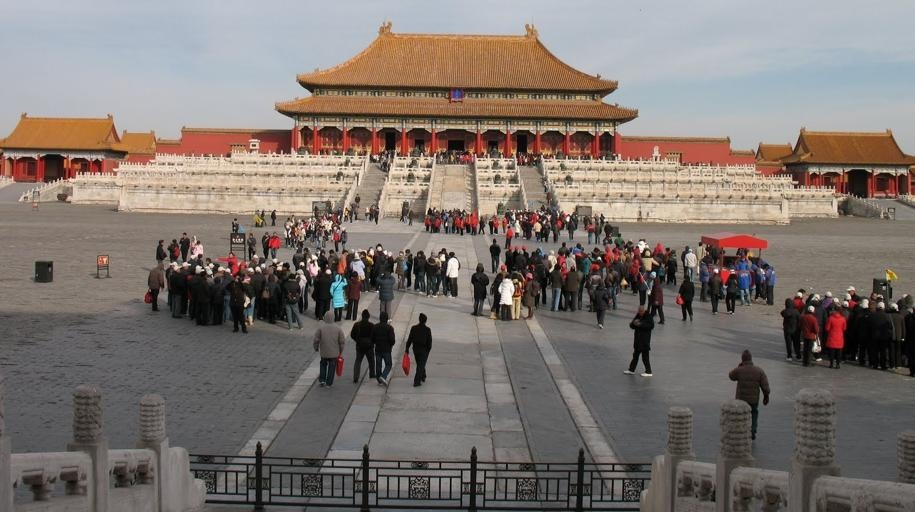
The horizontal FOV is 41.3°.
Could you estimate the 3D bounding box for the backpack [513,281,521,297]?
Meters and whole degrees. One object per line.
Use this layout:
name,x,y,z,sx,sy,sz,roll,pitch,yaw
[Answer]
backpack,2.680,1.442,53.012,0.199,0.661,0.467,1,2,39

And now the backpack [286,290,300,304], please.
backpack,-6.916,1.775,50.801,0.461,0.705,0.765,-2,1,13

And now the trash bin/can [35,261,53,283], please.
trash bin/can,-19.232,0.764,56.598,0.765,1.002,0.681,-1,2,-24

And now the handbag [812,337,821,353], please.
handbag,14.288,3.563,48.272,0.229,0.619,0.834,1,2,24

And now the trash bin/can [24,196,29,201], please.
trash bin/can,-35.007,-4.591,98.965,0.415,0.375,0.224,-1,-1,-25

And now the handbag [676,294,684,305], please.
handbag,9.851,1.962,53.682,0.290,0.578,0.609,1,5,4

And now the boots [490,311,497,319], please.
boots,1.611,2.606,52.969,0.286,0.339,0.288,0,2,-5

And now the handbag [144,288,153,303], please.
handbag,-13.502,1.796,53.203,0.336,0.666,0.910,0,2,-15

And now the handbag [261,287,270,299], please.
handbag,-8.064,1.593,51.475,0.337,0.496,0.119,0,1,-9

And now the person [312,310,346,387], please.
person,-4.846,3.518,45.939,1.079,2.860,1.056,0,1,-7
